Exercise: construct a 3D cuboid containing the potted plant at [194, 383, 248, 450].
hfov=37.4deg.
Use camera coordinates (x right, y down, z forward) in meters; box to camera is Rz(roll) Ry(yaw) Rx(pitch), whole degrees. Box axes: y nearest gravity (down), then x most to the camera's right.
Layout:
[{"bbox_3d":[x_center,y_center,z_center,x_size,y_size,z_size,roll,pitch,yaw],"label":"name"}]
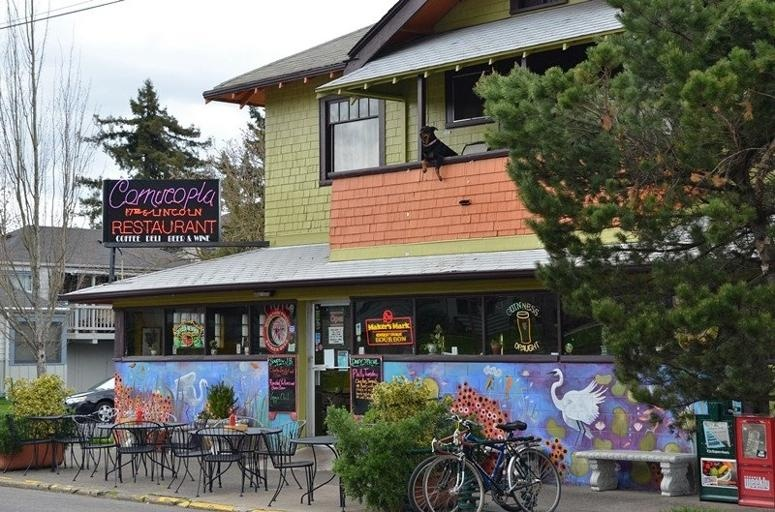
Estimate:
[{"bbox_3d":[-3.553,3.163,23.801,1.111,1.597,1.166,-5,-18,0],"label":"potted plant"}]
